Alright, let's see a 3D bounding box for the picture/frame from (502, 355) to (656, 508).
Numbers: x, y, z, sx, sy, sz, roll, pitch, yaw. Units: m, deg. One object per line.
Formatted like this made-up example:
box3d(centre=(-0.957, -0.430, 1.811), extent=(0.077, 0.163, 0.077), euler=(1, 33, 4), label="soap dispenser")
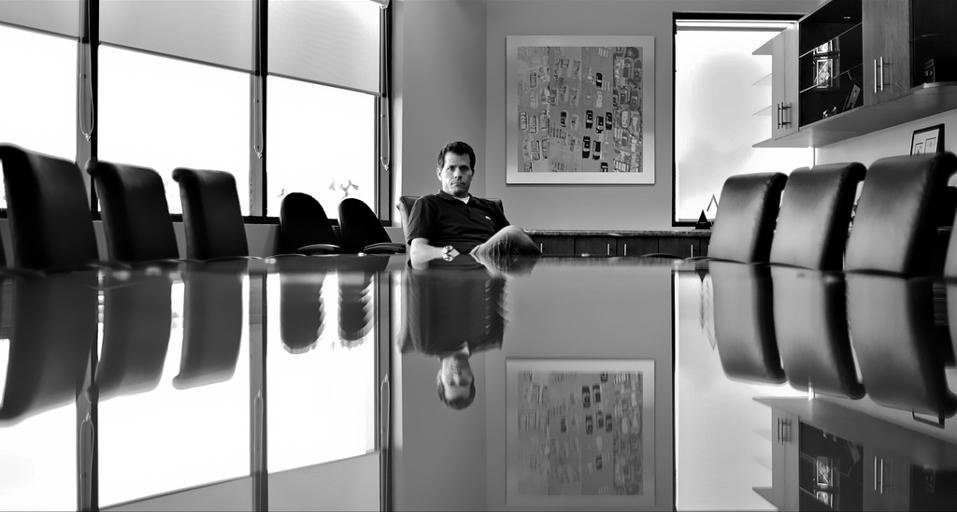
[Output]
box3d(centre=(0.333, 0.611, 2.528), extent=(0.473, 0.032, 0.460), euler=(1, -103, -1), label="picture/frame")
